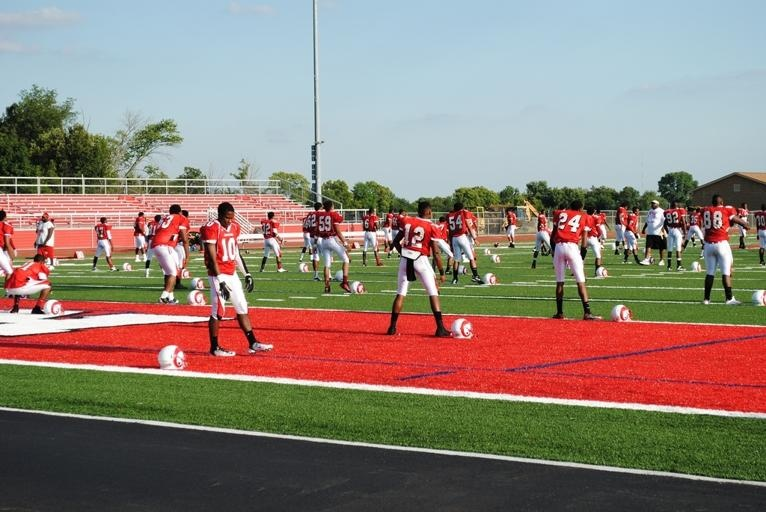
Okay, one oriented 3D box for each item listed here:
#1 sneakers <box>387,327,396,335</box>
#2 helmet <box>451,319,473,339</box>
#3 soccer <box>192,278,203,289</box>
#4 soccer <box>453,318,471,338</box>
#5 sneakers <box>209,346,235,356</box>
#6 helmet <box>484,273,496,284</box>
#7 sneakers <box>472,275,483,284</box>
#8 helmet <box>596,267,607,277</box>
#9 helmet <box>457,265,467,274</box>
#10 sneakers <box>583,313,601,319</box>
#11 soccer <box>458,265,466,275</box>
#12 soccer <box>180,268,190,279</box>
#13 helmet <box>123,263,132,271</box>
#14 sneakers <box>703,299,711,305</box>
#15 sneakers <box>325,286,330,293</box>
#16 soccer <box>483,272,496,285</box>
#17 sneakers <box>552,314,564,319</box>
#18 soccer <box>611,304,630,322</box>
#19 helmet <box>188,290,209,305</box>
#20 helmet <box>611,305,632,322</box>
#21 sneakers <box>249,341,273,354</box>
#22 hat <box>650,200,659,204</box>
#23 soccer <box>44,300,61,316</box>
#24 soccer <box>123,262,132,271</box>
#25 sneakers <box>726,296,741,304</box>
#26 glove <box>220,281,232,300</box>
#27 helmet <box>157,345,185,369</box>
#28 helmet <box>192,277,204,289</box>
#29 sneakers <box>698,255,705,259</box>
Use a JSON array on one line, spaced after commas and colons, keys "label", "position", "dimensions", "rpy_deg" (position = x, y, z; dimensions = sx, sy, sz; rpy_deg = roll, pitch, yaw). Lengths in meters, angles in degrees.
[{"label": "sneakers", "position": [0.140, 1.228, 13.290], "dimensions": [0.148, 0.155, 0.316], "rpy_deg": [-1, 7, 1]}, {"label": "helmet", "position": [1.271, 1.174, 12.910], "dimensions": [0.340, 0.273, 0.250], "rpy_deg": [-9, 10, -36]}, {"label": "soccer", "position": [-4.500, 0.679, 19.325], "dimensions": [0.218, 0.172, 0.222], "rpy_deg": [-21, 1, 0]}, {"label": "soccer", "position": [1.278, 1.175, 12.886], "dimensions": [0.312, 0.260, 0.228], "rpy_deg": [-2, 9, -37]}, {"label": "sneakers", "position": [-2.340, 1.405, 11.714], "dimensions": [0.321, 0.153, 0.285], "rpy_deg": [-1, 7, -4]}, {"label": "helmet", "position": [2.863, 0.654, 21.442], "dimensions": [0.258, 0.277, 0.305], "rpy_deg": [-8, -42, 18]}, {"label": "sneakers", "position": [2.550, 0.624, 21.464], "dimensions": [0.344, 0.238, 0.122], "rpy_deg": [-8, 15, -21]}, {"label": "helmet", "position": [6.210, 0.427, 22.675], "dimensions": [0.263, 0.335, 0.336], "rpy_deg": [23, -3, 22]}, {"label": "helmet", "position": [2.501, 0.435, 25.499], "dimensions": [0.237, 0.255, 0.290], "rpy_deg": [1, -3, -12]}, {"label": "sneakers", "position": [3.739, 1.096, 14.337], "dimensions": [0.286, 0.126, 0.117], "rpy_deg": [-2, -1, 13]}, {"label": "soccer", "position": [2.492, 0.442, 25.278], "dimensions": [0.201, 0.267, 0.275], "rpy_deg": [5, 14, 25]}, {"label": "soccer", "position": [-5.778, 0.528, 23.342], "dimensions": [0.359, 0.202, 0.497], "rpy_deg": [5, 5, -1]}, {"label": "helmet", "position": [-9.109, 0.395, 28.381], "dimensions": [0.176, 0.247, 0.235], "rpy_deg": [-5, -13, 32]}, {"label": "sneakers", "position": [6.645, 0.949, 16.470], "dimensions": [0.092, 0.078, 0.150], "rpy_deg": [-2, -9, 31]}, {"label": "sneakers", "position": [-1.366, 0.822, 19.532], "dimensions": [0.137, 0.137, 0.140], "rpy_deg": [1, -5, 2]}, {"label": "soccer", "position": [2.864, 0.621, 21.450], "dimensions": [0.280, 0.328, 0.279], "rpy_deg": [15, 8, -30]}, {"label": "sneakers", "position": [3.196, 1.109, 14.686], "dimensions": [0.209, 0.099, 0.215], "rpy_deg": [1, 7, 17]}, {"label": "soccer", "position": [4.283, 1.038, 14.365], "dimensions": [0.371, 0.251, 0.325], "rpy_deg": [-1, 7, -3]}, {"label": "helmet", "position": [-4.074, 0.938, 17.553], "dimensions": [0.388, 0.322, 0.281], "rpy_deg": [-16, 19, -40]}, {"label": "helmet", "position": [4.278, 1.014, 14.381], "dimensions": [0.253, 0.326, 0.319], "rpy_deg": [-14, 27, -29]}, {"label": "sneakers", "position": [-1.810, 1.325, 11.781], "dimensions": [0.392, 0.207, 0.155], "rpy_deg": [-3, 41, -2]}, {"label": "hat", "position": [8.691, -1.790, 25.625], "dimensions": [0.208, 0.119, 0.301], "rpy_deg": [5, -5, 42]}, {"label": "soccer", "position": [-6.487, 1.010, 15.803], "dimensions": [0.227, 0.307, 0.305], "rpy_deg": [10, 25, 10]}, {"label": "soccer", "position": [-9.189, 0.381, 28.643], "dimensions": [0.168, 0.233, 0.222], "rpy_deg": [-5, -13, 34]}, {"label": "sneakers", "position": [7.166, 0.927, 16.385], "dimensions": [0.418, 0.198, 0.151], "rpy_deg": [-1, 7, -37]}, {"label": "glove", "position": [-2.213, 0.490, 11.216], "dimensions": [0.151, 0.228, 0.071], "rpy_deg": [-20, 17, -30]}, {"label": "helmet", "position": [-2.887, 1.399, 11.036], "dimensions": [0.259, 0.288, 0.347], "rpy_deg": [8, 12, 42]}, {"label": "helmet", "position": [-4.531, 0.679, 19.500], "dimensions": [0.198, 0.271, 0.239], "rpy_deg": [20, -21, -37]}, {"label": "sneakers", "position": [11.296, 0.027, 28.421], "dimensions": [0.164, 0.219, 0.507], "rpy_deg": [0, 5, 19]}]
